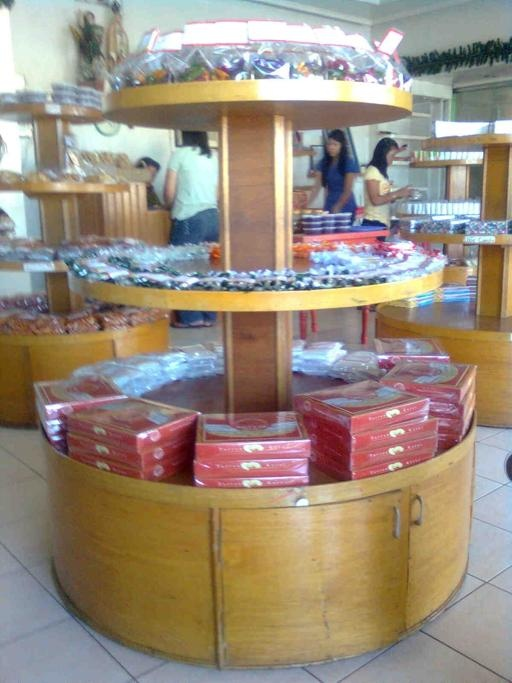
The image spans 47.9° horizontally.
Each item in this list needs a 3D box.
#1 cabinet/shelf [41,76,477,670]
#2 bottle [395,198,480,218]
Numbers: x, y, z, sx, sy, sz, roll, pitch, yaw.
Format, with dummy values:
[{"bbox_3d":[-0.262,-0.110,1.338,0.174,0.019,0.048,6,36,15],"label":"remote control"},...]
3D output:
[{"bbox_3d":[0.012,0.027,1.819,1.349,1.276,1.267,-12,18,-32],"label":"cabinet/shelf"},{"bbox_3d":[1.254,-0.912,3.956,0.552,0.114,0.473,3,10,16],"label":"bottle"}]
